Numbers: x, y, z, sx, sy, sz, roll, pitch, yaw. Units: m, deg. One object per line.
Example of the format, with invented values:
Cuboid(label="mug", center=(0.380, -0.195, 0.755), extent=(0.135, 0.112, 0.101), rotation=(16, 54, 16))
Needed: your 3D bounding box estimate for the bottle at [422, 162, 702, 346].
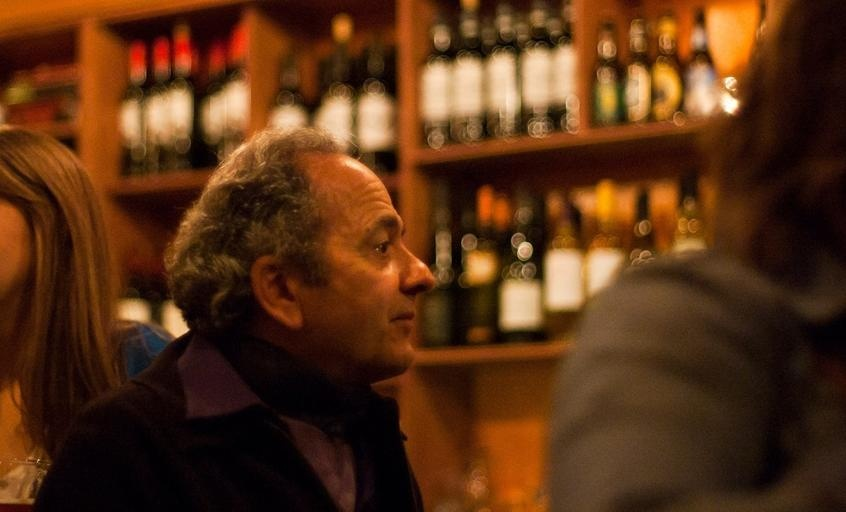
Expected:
Cuboid(label="bottle", center=(0.260, -0.011, 1.777), extent=(0.407, 0.270, 0.127), rotation=(-2, -9, 10))

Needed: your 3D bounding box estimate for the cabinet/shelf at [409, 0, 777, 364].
Cuboid(label="cabinet/shelf", center=(0.286, -0.162, 1.660), extent=(0.792, 0.735, 0.267), rotation=(-3, -9, 14))
